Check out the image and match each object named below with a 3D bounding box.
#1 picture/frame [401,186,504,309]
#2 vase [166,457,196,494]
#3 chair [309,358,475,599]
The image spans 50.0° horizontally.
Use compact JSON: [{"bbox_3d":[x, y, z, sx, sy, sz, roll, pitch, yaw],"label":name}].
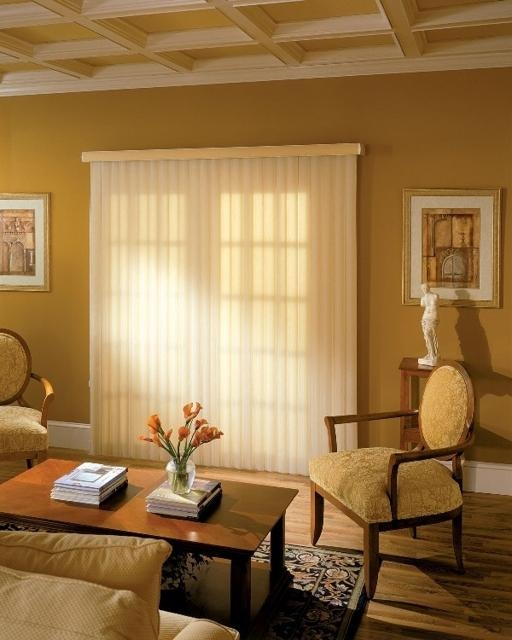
[{"bbox_3d":[1.392,-0.522,3.800,0.906,1.064,0.073,1,2,17],"label":"picture/frame"},{"bbox_3d":[-0.337,0.702,2.531,0.154,0.161,0.151,0,-1,-7],"label":"vase"},{"bbox_3d":[0.766,0.755,2.918,0.793,1.007,0.768,0,3,-19],"label":"chair"}]
